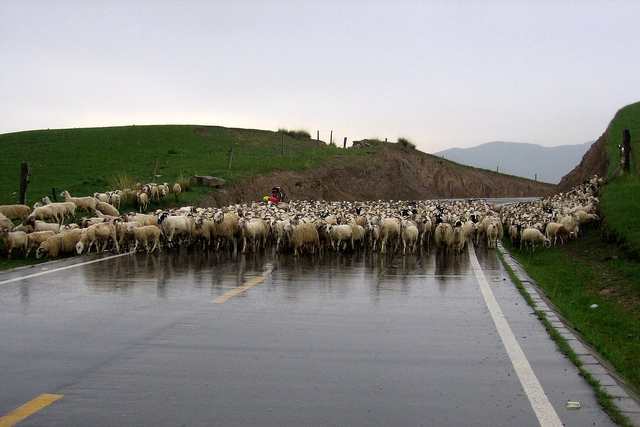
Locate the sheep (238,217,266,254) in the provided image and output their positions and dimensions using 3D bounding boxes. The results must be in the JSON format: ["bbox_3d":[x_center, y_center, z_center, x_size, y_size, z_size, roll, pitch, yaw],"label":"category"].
[{"bbox_3d":[-3.044,0.979,20.977,0.731,1.662,2.592,2,0,20],"label":"sheep"}]

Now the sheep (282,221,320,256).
[{"bbox_3d":[-0.838,1.128,20.516,0.769,1.516,2.585,-7,-5,31],"label":"sheep"}]

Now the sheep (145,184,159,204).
[{"bbox_3d":[-12.051,-1.325,33.389,0.584,1.337,2.110,0,4,-6],"label":"sheep"}]

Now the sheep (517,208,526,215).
[{"bbox_3d":[13.720,-0.137,31.693,0.564,0.289,0.781,5,7,20],"label":"sheep"}]

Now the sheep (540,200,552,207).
[{"bbox_3d":[17.500,-0.732,36.237,0.888,0.427,1.304,1,4,18],"label":"sheep"}]

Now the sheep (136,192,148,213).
[{"bbox_3d":[-12.044,-0.728,31.485,0.681,1.277,1.007,-1,4,-22],"label":"sheep"}]

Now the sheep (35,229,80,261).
[{"bbox_3d":[-10.030,1.232,17.878,0.537,0.869,1.985,2,4,14],"label":"sheep"}]

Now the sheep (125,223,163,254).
[{"bbox_3d":[-7.407,1.049,19.621,1.377,1.155,1.289,-1,4,-23],"label":"sheep"}]

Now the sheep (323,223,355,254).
[{"bbox_3d":[0.874,1.110,20.799,0.520,1.224,1.683,4,5,40],"label":"sheep"}]

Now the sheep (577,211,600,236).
[{"bbox_3d":[14.581,0.537,25.457,0.952,1.185,1.562,3,5,29],"label":"sheep"}]

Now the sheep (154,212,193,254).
[{"bbox_3d":[-6.543,0.792,21.038,0.594,1.594,2.160,1,-1,32],"label":"sheep"}]

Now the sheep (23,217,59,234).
[{"bbox_3d":[-12.373,0.555,20.536,1.502,0.851,0.466,9,-10,-44],"label":"sheep"}]

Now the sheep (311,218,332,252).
[{"bbox_3d":[0.280,0.941,21.272,0.538,1.152,1.799,-5,-23,10],"label":"sheep"}]

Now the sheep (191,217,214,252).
[{"bbox_3d":[-5.344,0.878,20.975,0.735,1.447,1.383,1,4,9],"label":"sheep"}]

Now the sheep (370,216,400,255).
[{"bbox_3d":[3.094,1.104,21.815,2.456,1.536,0.627,1,2,-42],"label":"sheep"}]

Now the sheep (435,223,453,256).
[{"bbox_3d":[5.360,1.118,20.242,0.682,1.250,1.242,2,4,17],"label":"sheep"}]

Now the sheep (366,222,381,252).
[{"bbox_3d":[2.442,1.120,21.469,0.476,1.163,0.928,1,4,6],"label":"sheep"}]

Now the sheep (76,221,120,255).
[{"bbox_3d":[-9.000,0.914,18.923,1.470,1.026,0.464,-2,19,-25],"label":"sheep"}]

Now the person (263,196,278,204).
[{"bbox_3d":[-3.866,-0.970,36.042,1.155,0.617,0.381,19,24,22],"label":"person"}]
